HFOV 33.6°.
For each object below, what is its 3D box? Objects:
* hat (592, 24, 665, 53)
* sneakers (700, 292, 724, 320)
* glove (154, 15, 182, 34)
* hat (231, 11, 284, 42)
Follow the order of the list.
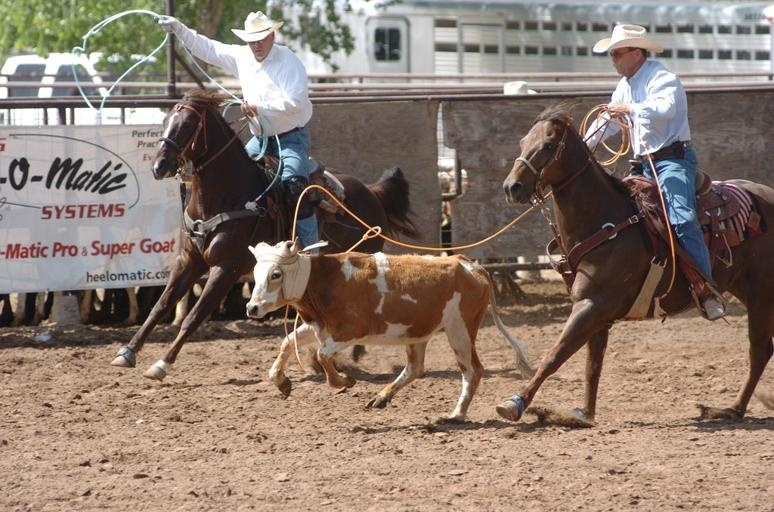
[{"bbox_3d":[2.634,-2.362,13.685,0.805,0.267,0.569,2,0,-7],"label":"hat"},{"bbox_3d":[3.445,0.541,13.565,0.238,0.265,0.104,-5,-4,5],"label":"sneakers"},{"bbox_3d":[-2.516,-2.672,14.670,0.304,0.094,0.218,15,-10,26],"label":"glove"},{"bbox_3d":[-1.475,-2.627,14.672,0.358,0.368,0.436,-4,7,-34],"label":"hat"}]
